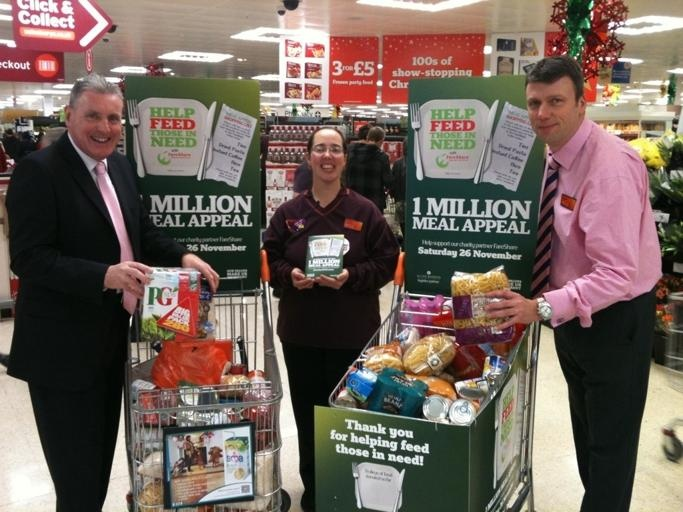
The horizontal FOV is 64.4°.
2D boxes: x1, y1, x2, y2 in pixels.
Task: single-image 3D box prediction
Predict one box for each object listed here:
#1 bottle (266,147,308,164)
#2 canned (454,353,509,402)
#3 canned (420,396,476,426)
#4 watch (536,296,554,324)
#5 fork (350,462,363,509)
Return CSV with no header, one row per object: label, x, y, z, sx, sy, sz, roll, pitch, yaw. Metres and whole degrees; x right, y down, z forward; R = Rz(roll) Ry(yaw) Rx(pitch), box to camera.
bottle,-0.795,-1.480,7.977,0.446,0.258,0.110,3,2,5
canned,0.576,0.497,2.202,0.062,0.077,0.208,-30,-7,35
canned,0.382,0.551,1.916,0.142,0.090,0.153,8,-8,7
watch,0.818,0.214,2.186,0.060,0.096,0.088,-16,4,-11
fork,0.048,0.813,1.916,0.024,0.191,0.027,-2,4,3
